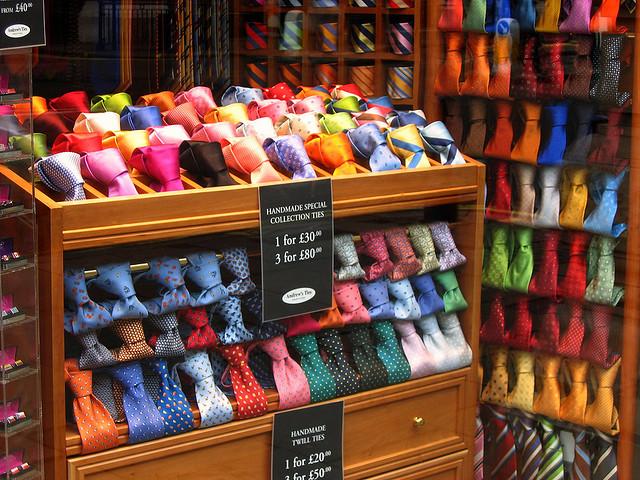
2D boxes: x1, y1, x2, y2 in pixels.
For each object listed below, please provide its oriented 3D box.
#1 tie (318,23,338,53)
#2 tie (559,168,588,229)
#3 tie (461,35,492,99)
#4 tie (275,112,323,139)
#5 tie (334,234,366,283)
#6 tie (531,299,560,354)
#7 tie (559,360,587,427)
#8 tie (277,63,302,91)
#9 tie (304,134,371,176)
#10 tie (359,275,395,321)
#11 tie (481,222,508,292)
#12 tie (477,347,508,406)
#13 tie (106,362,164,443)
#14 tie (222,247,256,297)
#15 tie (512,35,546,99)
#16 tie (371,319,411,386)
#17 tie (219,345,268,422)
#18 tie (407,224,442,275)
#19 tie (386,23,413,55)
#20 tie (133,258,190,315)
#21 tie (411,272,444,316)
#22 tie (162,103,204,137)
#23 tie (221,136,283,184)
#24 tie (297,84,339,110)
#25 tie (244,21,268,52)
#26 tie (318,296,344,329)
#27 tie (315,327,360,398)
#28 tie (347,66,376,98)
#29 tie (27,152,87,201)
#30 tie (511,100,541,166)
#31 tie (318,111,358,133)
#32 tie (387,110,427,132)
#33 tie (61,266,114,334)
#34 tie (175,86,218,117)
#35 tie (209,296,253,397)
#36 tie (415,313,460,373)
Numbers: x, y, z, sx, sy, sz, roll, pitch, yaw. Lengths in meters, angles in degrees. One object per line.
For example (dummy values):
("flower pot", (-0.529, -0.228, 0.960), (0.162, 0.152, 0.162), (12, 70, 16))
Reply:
("tie", (0.019, -0.509, 1.427), (0.050, 0.065, 0.055), (-1, 23, -2))
("tie", (0.616, -0.102, 1.385), (0.062, 0.141, 0.031), (3, 14, 28))
("tie", (0.378, -0.425, 1.390), (0.073, 0.146, 0.020), (7, 16, 40))
("tie", (-0.053, -0.293, 1.450), (0.085, 0.080, 0.039), (0, -2, 20))
("tie", (0.068, 0.042, 1.336), (0.075, 0.101, 0.028), (-14, 9, -24))
("tie", (0.586, 0.227, 1.478), (0.063, 0.132, 0.037), (-4, -9, 31))
("tie", (0.662, 0.394, 1.485), (0.064, 0.175, 0.044), (8, 18, 25))
("tie", (-0.080, -0.418, 1.450), (0.044, 0.055, 0.049), (0, 29, -3))
("tie", (0.031, -0.210, 1.382), (0.099, 0.054, 0.142), (-8, 38, -19))
("tie", (0.143, 0.145, 1.405), (0.081, 0.100, 0.027), (-14, 9, -17))
("tie", (0.443, 0.049, 1.471), (0.079, 0.153, 0.036), (3, 8, 33))
("tie", (0.486, 0.374, 1.574), (0.089, 0.140, 0.039), (4, 1, 21))
("tie", (-0.377, 0.345, 1.194), (0.073, 0.206, 0.057), (-7, -17, -21))
("tie", (-0.180, 0.069, 1.262), (0.074, 0.097, 0.035), (-11, 10, -19))
("tie", (0.488, -0.406, 1.342), (0.069, 0.131, 0.041), (0, 17, 14))
("tie", (0.179, 0.284, 1.432), (0.082, 0.168, 0.048), (-15, -13, -2))
("tie", (-0.176, 0.310, 1.317), (0.065, 0.058, 0.192), (-12, 46, -19))
("tie", (0.262, 0.025, 1.452), (0.093, 0.117, 0.034), (-10, -1, -24))
("tie", (0.210, -0.521, 1.451), (0.064, 0.077, 0.069), (8, 37, 23))
("tie", (-0.319, 0.098, 1.216), (0.056, 0.115, 0.091), (-2, 10, 25))
("tie", (0.275, 0.141, 1.466), (0.085, 0.108, 0.037), (-21, 4, 2))
("tie", (-0.354, -0.304, 1.487), (0.089, 0.093, 0.041), (-26, 0, -31))
("tie", (-0.161, -0.182, 1.298), (0.090, 0.060, 0.148), (-25, 60, -25))
("tie", (-0.007, -0.380, 1.534), (0.070, 0.070, 0.061), (0, 9, -21))
("tie", (-0.156, -0.502, 1.403), (0.050, 0.061, 0.055), (12, 39, 14))
("tie", (0.033, 0.173, 1.364), (0.058, 0.075, 0.027), (-7, 5, -14))
("tie", (0.044, 0.298, 1.381), (0.080, 0.173, 0.048), (-13, -9, -9))
("tie", (0.097, -0.424, 1.520), (0.059, 0.074, 0.063), (8, 19, 27))
("tie", (-0.517, -0.129, 1.140), (0.085, 0.113, 0.045), (0, 5, 5))
("tie", (0.507, -0.262, 1.396), (0.067, 0.131, 0.038), (12, 26, 28))
("tie", (0.046, -0.285, 1.471), (0.071, 0.063, 0.058), (-32, 17, -29))
("tie", (0.234, -0.323, 1.509), (0.056, 0.042, 0.074), (-14, 18, -29))
("tie", (-0.469, 0.122, 1.128), (0.088, 0.123, 0.040), (-13, -1, -29))
("tie", (-0.315, -0.358, 1.465), (0.071, 0.078, 0.030), (-27, 12, -19))
("tie", (-0.206, 0.239, 1.277), (0.063, 0.206, 0.127), (-6, 1, 29))
("tie", (0.304, 0.272, 1.516), (0.093, 0.160, 0.054), (-7, -19, -24))
